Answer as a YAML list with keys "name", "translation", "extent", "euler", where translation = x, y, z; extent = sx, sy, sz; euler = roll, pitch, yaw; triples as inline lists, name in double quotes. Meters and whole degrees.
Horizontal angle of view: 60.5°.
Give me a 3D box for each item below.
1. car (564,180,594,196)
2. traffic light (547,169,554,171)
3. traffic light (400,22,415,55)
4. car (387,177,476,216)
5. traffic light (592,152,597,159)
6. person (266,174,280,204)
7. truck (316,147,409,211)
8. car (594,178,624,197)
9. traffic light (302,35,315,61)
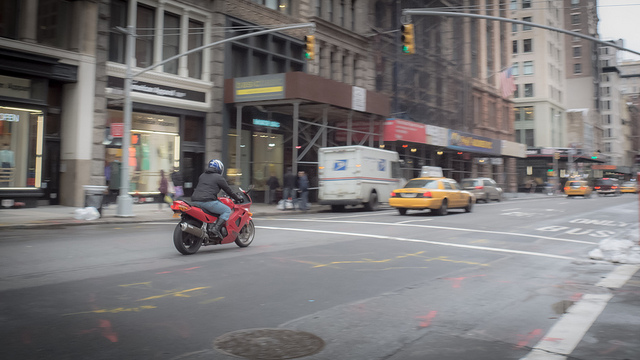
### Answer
- name: "car"
  translation: [24.669, 0.942, 52.418]
  extent: [1.868, 1.675, 2.634]
  euler: [9, 13, 32]
- name: "traffic light"
  translation: [34.428, -1.426, 81.811]
  extent: [0.716, 0.127, 0.635]
  euler: [-3, -5, 9]
- name: "traffic light"
  translation: [3.808, -6.170, 23.946]
  extent: [0.539, 1.262, 0.966]
  euler: [4, 12, 9]
- name: "car"
  translation: [5.921, 0.849, 28.409]
  extent: [4.323, 1.718, 1.751]
  euler: [-6, 14, -36]
- name: "traffic light"
  translation: [38.517, -3.309, 76.942]
  extent: [0.737, 0.876, 0.724]
  euler: [0, -5, 7]
- name: "person"
  translation: [-2.963, 0.629, 33.585]
  extent: [0.690, 2.017, 1.165]
  euler: [1, 12, -5]
- name: "truck"
  translation: [2.575, -0.009, 33.222]
  extent: [3.492, 2.454, 6.197]
  euler: [0, -1, 31]
- name: "car"
  translation: [32.625, 0.783, 62.023]
  extent: [2.910, 1.700, 6.049]
  euler: [1, 5, 38]
- name: "traffic light"
  translation: [-0.527, -6.183, 25.594]
  extent: [0.402, 1.091, 0.751]
  euler: [0, 12, -8]
